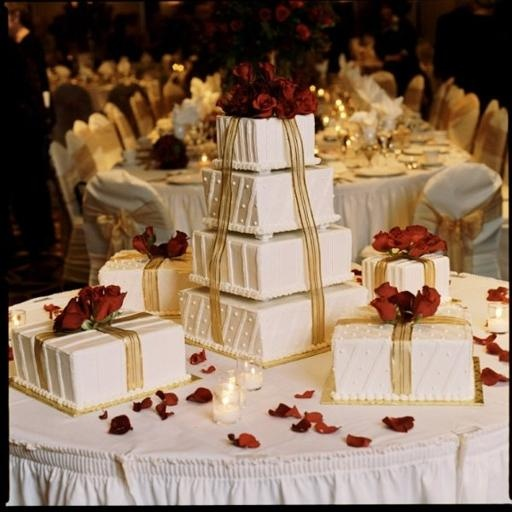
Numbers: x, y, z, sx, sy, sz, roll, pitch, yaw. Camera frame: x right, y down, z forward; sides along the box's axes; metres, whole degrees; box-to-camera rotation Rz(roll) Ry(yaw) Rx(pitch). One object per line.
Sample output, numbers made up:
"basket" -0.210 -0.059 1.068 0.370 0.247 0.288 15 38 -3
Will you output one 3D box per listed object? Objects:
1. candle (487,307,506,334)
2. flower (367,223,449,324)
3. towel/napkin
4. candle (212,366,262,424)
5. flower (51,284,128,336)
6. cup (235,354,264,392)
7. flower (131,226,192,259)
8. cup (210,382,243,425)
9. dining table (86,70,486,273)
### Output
"candle" 1.274 0.337 3.001 0.117 0.137 0.120 -1 -3 3
"flower" 0.917 0.061 3.338 0.437 0.653 0.504 9 14 44
"towel/napkin" 1.157 -1.339 5.712 0.450 0.283 0.655 -26 26 -4
"candle" -0.069 0.534 2.307 0.099 0.116 0.309 1 3 8
"flower" -0.692 0.203 2.509 0.220 0.120 0.216 -11 24 -27
"cup" -0.025 0.495 2.398 0.126 0.146 0.132 -1 2 0
"flower" -0.563 -0.074 3.480 0.362 0.183 0.143 1 8 19
"cup" -0.113 0.563 2.185 0.135 0.161 0.140 1 1 0
"dining table" 0.375 -0.686 4.680 2.475 0.649 2.636 -20 13 -40
